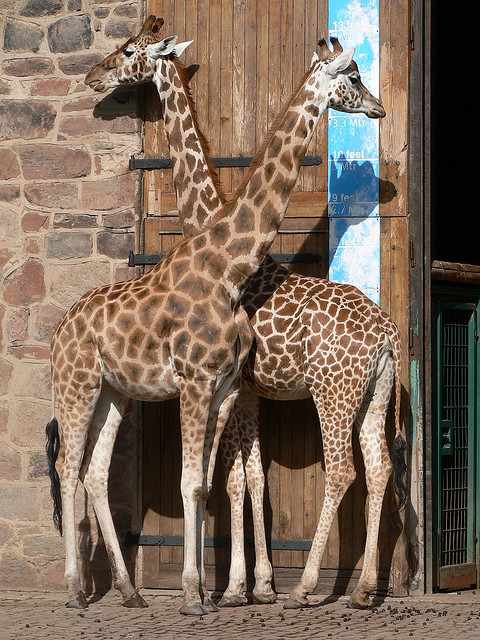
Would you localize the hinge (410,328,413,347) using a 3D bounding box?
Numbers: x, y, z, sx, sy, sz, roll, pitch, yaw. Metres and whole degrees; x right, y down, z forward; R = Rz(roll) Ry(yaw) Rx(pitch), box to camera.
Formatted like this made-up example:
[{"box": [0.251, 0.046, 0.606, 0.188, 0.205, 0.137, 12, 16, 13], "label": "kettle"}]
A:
[{"box": [0.967, 0.095, 8.346, 0.029, 0.107, 0.010, 2, 0, -45], "label": "hinge"}]

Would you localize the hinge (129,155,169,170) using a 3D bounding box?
[{"box": [-0.533, -0.923, 8.601, 0.134, 0.082, 0.104, -1, 2, -3], "label": "hinge"}]

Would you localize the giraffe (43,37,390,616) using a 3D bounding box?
[{"box": [-0.264, 0.009, 7.934, 1.619, 3.084, 0.764, 2, 0, 1], "label": "giraffe"}]

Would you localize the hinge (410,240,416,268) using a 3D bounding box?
[{"box": [0.979, -0.380, 8.390, 0.035, 0.156, 0.013, 2, 0, -24], "label": "hinge"}]

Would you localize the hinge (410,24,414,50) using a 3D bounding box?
[{"box": [0.984, -1.639, 8.453, 0.024, 0.143, 0.012, 2, 0, -16], "label": "hinge"}]
